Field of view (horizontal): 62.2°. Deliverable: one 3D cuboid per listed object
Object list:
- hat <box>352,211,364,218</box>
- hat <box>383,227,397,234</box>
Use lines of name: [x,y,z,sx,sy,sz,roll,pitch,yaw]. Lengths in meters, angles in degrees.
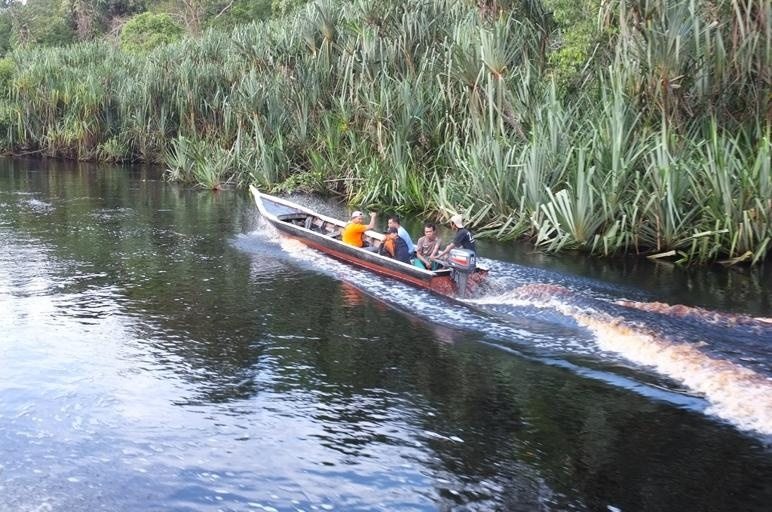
hat: [-0.655,-0.862,13.258,0.342,0.115,0.288,-2,-1,-21]
hat: [0.061,-0.497,12.402,0.150,0.154,0.155,9,9,17]
